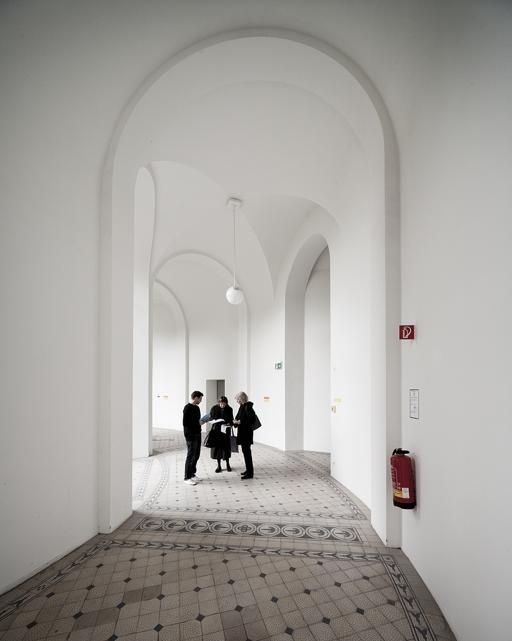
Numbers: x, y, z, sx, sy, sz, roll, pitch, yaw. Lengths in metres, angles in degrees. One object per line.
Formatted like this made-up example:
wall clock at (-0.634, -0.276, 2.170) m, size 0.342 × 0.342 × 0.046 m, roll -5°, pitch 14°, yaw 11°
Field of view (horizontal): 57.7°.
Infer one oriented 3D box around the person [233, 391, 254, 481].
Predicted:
person at (-0.189, 1.813, 7.343) m, size 0.327 × 1.292 × 0.609 m, roll 0°, pitch -4°, yaw -2°

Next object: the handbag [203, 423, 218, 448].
handbag at (-0.748, 1.969, 7.722) m, size 0.213 × 0.452 × 0.409 m, roll 1°, pitch -5°, yaw -9°

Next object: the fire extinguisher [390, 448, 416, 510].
fire extinguisher at (1.212, 1.348, 3.870) m, size 0.189 × 0.441 × 0.179 m, roll 0°, pitch -4°, yaw 2°

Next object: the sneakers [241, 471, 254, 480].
sneakers at (-0.126, 2.393, 7.106) m, size 0.192 × 0.089 × 0.209 m, roll 0°, pitch -5°, yaw -3°

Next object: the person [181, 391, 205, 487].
person at (-0.942, 1.765, 7.002) m, size 0.260 × 1.351 × 0.844 m, roll 0°, pitch -4°, yaw -7°
